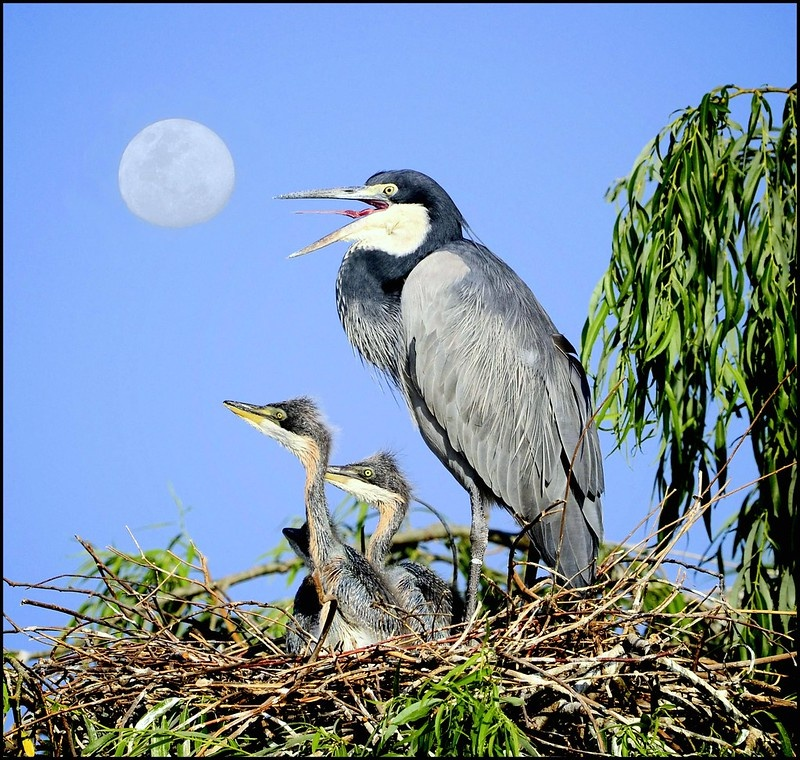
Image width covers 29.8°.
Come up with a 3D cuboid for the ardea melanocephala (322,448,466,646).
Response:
[{"bbox_3d":[-0.056,0.763,6.294,0.711,1.082,0.385,6,-35,-3],"label":"ardea melanocephala"}]

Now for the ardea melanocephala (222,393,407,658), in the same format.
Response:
[{"bbox_3d":[-0.301,0.712,6.203,0.706,1.068,0.384,11,-41,-13],"label":"ardea melanocephala"}]
